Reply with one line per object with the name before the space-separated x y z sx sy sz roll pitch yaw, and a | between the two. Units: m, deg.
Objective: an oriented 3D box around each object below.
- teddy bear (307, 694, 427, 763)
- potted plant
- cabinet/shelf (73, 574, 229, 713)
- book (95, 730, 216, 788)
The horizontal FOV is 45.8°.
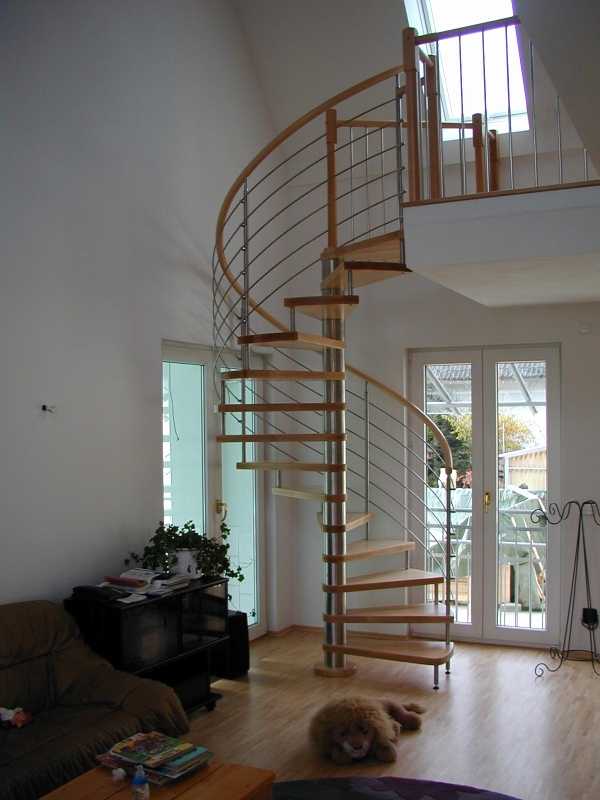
teddy bear | 0.379 1.607 3.586 0.673 0.250 0.423 5 -7 -44
potted plant | -0.689 0.976 4.396 0.574 0.399 0.664 0 -25 -5
cabinet/shelf | -0.790 1.240 3.633 0.343 0.746 0.860 -2 0 29
book | -0.507 1.271 2.531 0.236 0.054 0.222 1 1 34
